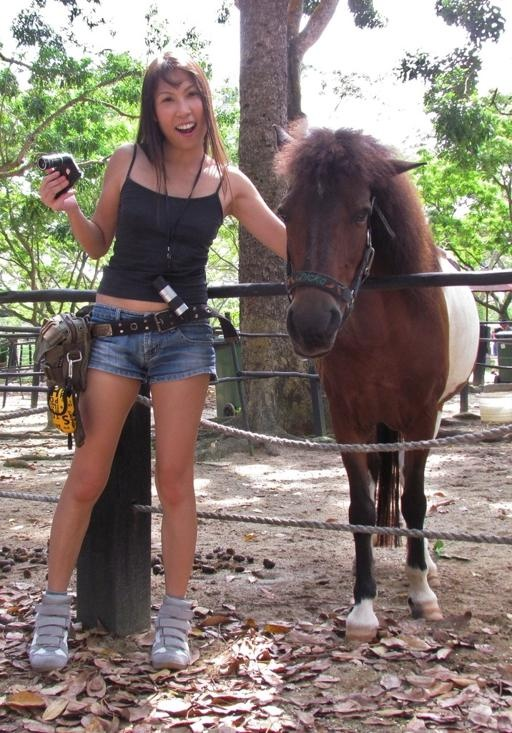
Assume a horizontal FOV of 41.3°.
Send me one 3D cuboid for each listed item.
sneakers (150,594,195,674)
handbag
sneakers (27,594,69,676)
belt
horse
[{"bbox_3d":[-0.255,0.809,2.073,0.116,0.197,0.114,2,-2,-6],"label":"sneakers"},{"bbox_3d":[-0.586,0.037,2.066,0.164,0.408,0.140,2,-3,-16],"label":"handbag"},{"bbox_3d":[-0.600,0.781,2.024,0.089,0.109,0.262,2,24,-6],"label":"sneakers"},{"bbox_3d":[-0.308,-0.136,2.106,0.303,0.075,0.166,-4,-2,-14],"label":"belt"},{"bbox_3d":[0.470,-0.004,2.731,0.600,1.962,1.583,0,-3,22],"label":"horse"}]
